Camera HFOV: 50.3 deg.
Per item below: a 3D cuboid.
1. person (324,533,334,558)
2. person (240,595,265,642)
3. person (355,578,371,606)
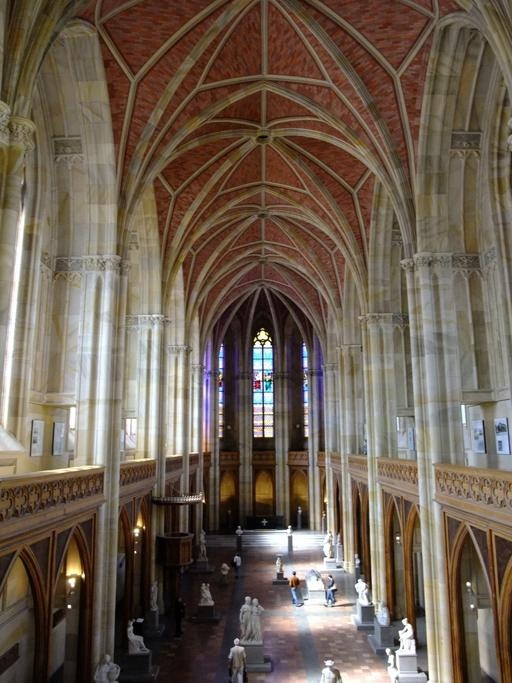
[{"bbox_3d":[2.811,7.900,21.042,0.351,0.888,1.248,-2,-12,9],"label":"person"},{"bbox_3d":[-0.087,5.590,11.015,0.412,0.967,0.882,0,-12,0],"label":"person"},{"bbox_3d":[2.768,6.439,14.036,0.332,0.578,0.798,-2,-12,10],"label":"person"}]
